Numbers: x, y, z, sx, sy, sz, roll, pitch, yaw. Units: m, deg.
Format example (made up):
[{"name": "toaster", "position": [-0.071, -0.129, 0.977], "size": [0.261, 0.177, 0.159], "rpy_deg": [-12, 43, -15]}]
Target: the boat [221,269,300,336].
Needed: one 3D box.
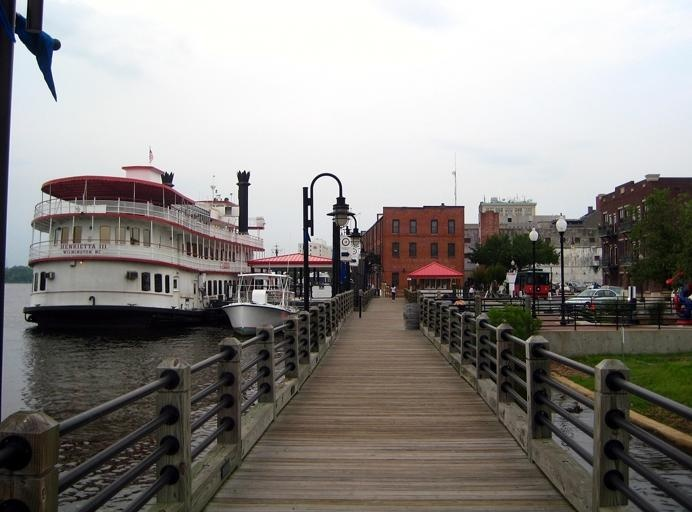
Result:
[{"name": "boat", "position": [-4.743, 2.602, 39.333], "size": [3.025, 3.249, 7.968], "rpy_deg": [2, 1, 2]}]

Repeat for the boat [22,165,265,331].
[{"name": "boat", "position": [-11.956, -1.300, 51.344], "size": [8.994, 12.110, 32.403], "rpy_deg": [-2, -2, 9]}]
